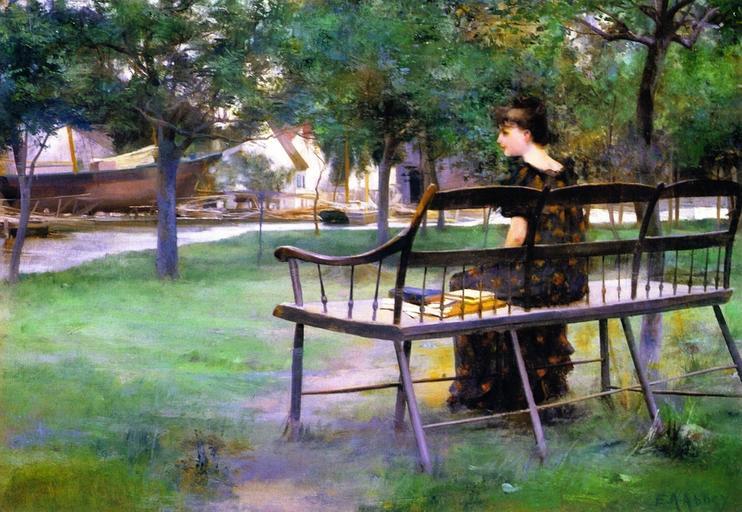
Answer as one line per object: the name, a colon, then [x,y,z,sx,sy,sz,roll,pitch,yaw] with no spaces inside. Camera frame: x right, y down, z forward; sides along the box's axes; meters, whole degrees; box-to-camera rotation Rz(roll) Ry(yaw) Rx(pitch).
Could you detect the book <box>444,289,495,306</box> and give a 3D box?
book: [0.492,0.198,3.368,0.249,0.071,0.272,1,3,7]
